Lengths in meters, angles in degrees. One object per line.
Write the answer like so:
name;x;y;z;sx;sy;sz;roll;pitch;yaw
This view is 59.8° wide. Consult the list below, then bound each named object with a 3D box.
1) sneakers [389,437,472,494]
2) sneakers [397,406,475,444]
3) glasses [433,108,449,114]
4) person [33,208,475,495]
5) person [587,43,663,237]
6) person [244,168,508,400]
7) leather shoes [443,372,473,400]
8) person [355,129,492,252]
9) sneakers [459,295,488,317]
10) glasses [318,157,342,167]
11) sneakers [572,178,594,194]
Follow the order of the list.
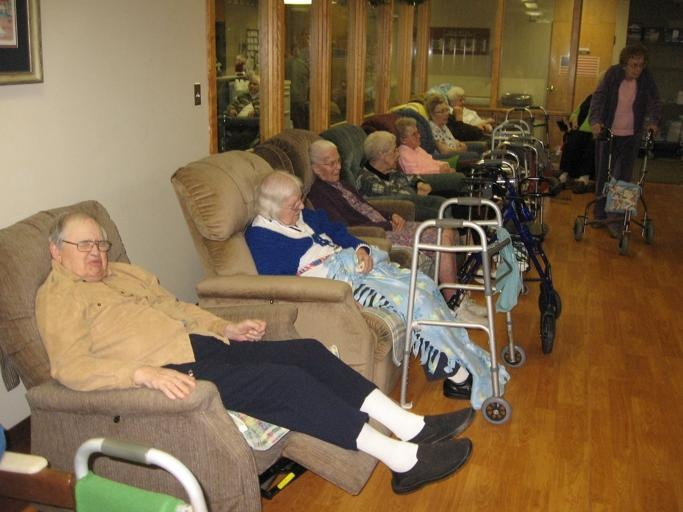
sneakers;0.372;0.866;2.541;0.328;0.147;0.177;-23;19;7
sneakers;0.456;0.742;2.734;0.324;0.113;0.120;-19;24;-29
glasses;1.140;-1.673;6.790;0.114;0.053;0.090;9;24;27
person;-0.323;0.521;2.682;1.935;1.171;0.908;12;18;8
person;2.727;-1.112;5.780;0.612;1.781;0.672;8;20;26
person;0.223;0.006;3.494;1.529;1.081;0.979;15;26;19
leather shoes;0.651;0.696;3.342;0.166;0.174;0.091;11;22;25
person;0.632;-0.642;5.118;0.886;1.167;0.820;6;28;13
sneakers;0.909;0.344;4.142;0.161;0.063;0.199;25;2;-2
glasses;-0.097;-0.663;4.213;0.105;0.048;0.086;-3;31;10
sneakers;3.210;-0.932;7.853;0.170;0.200;0.485;6;8;25
